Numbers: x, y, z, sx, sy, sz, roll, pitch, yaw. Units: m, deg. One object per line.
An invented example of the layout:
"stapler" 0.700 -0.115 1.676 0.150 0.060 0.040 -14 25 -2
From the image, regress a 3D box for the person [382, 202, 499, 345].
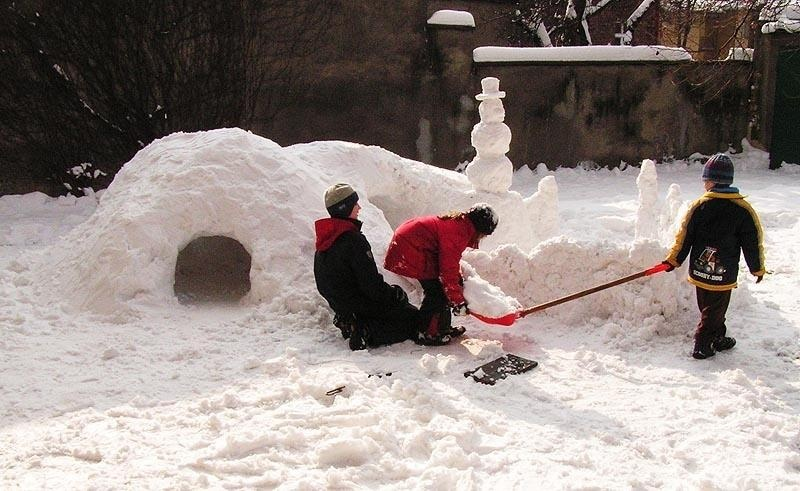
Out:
"person" 0.516 0.368 9.882 1.385 1.711 0.535 -3 17 1

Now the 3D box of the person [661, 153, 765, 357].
"person" 3.858 0.129 9.481 0.978 2.368 0.733 -11 19 -23

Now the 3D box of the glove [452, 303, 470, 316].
"glove" 0.776 0.800 9.866 0.200 0.160 0.136 -2 11 -7

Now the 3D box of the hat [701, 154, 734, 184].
"hat" 3.850 -0.947 9.568 0.424 0.352 0.373 7 10 -5

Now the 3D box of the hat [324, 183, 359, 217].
"hat" -0.762 -0.575 9.969 0.382 0.416 0.500 0 5 42
